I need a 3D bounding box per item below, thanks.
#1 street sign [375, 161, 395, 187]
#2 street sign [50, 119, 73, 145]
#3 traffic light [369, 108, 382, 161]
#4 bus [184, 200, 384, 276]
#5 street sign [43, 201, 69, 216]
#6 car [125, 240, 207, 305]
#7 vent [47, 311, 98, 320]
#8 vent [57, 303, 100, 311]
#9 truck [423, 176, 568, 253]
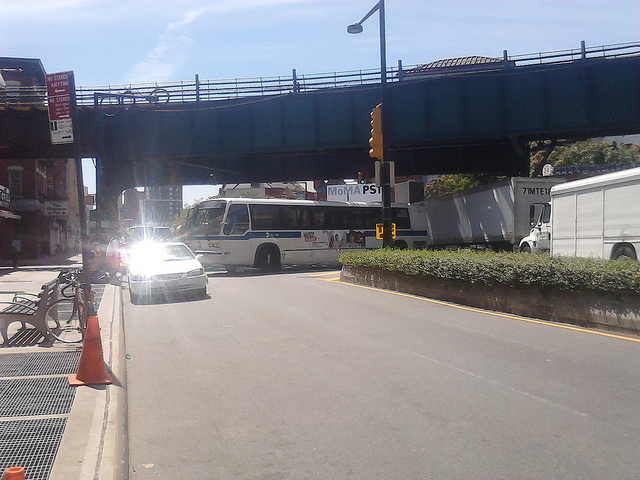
[{"bbox_3d":[2.608,-2.687,20.753,0.735,1.111,1.285,-3,2,6],"label":"street sign"},{"bbox_3d":[-10.898,-4.659,21.772,0.855,0.971,0.888,-4,2,-20],"label":"street sign"},{"bbox_3d":[2.136,-3.937,19.756,0.643,2.390,0.474,-2,-19,9],"label":"traffic light"},{"bbox_3d":[-0.389,-0.425,30.652,13.921,4.408,3.488,-1,1,-39],"label":"bus"},{"bbox_3d":[-22.395,-2.784,43.809,1.559,1.295,0.407,-2,-4,-25],"label":"street sign"},{"bbox_3d":[-4.962,0.952,16.509,2.254,1.577,2.414,-5,2,-27],"label":"car"},{"bbox_3d":[-5.117,1.532,10.647,0.620,0.217,0.687,0,-5,5],"label":"vent"},{"bbox_3d":[-5.493,1.502,11.763,0.529,0.132,0.365,2,-2,-12],"label":"vent"},{"bbox_3d":[9.673,-0.806,31.125,3.229,4.371,11.227,-2,-1,-15],"label":"truck"}]
